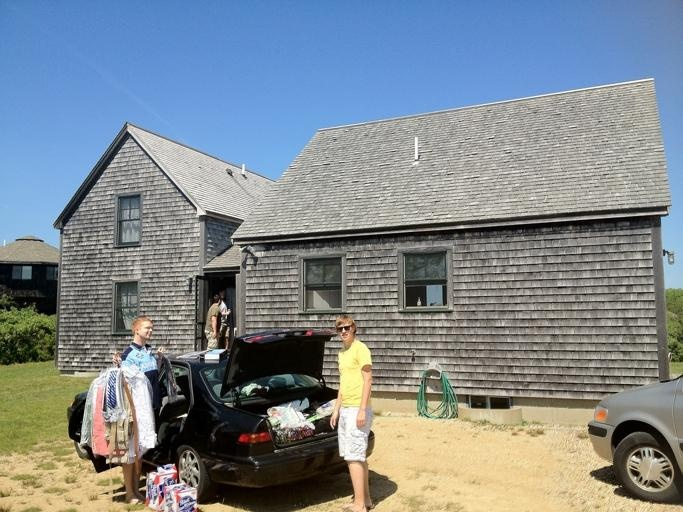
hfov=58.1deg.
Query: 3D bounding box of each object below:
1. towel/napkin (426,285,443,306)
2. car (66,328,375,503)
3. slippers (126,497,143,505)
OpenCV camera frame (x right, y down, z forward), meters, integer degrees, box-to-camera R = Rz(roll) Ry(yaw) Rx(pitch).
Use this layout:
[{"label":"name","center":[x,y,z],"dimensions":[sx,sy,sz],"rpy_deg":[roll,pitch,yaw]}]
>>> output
[{"label":"towel/napkin","center":[2.210,0.924,14.719],"dimensions":[0.419,0.439,0.103],"rpy_deg":[6,0,27]},{"label":"car","center":[-1.361,2.327,9.239],"dimensions":[3.441,1.593,2.625],"rpy_deg":[-1,-4,38]},{"label":"slippers","center":[-3.038,3.565,9.018],"dimensions":[0.154,0.070,0.085],"rpy_deg":[-7,-10,32]}]
